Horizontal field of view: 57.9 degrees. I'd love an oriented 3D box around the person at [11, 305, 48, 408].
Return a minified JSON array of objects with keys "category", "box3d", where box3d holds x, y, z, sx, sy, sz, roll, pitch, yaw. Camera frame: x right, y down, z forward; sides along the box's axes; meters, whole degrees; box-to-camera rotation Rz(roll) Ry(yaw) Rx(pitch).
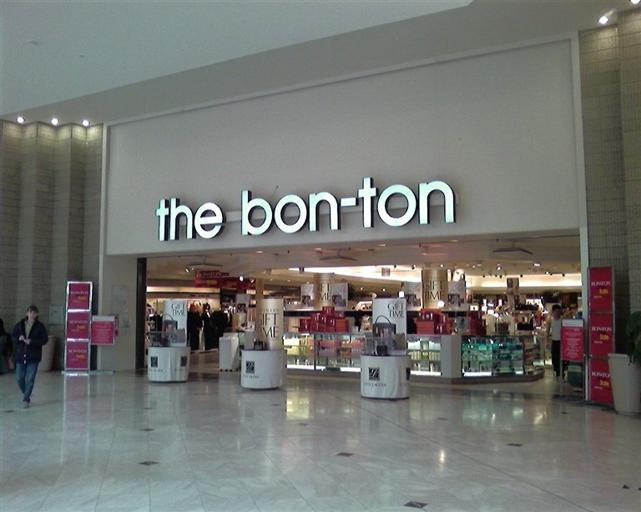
[{"category":"person","box3d":[-4.968,1.674,9.881,0.501,1.649,1.044,2,-5,-29]}]
